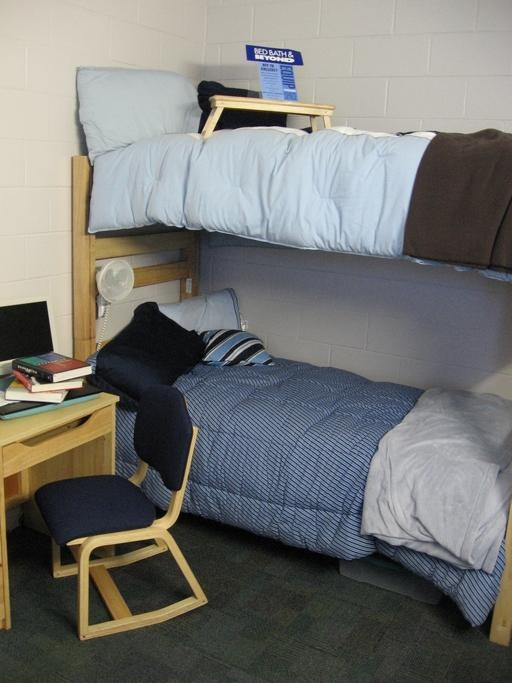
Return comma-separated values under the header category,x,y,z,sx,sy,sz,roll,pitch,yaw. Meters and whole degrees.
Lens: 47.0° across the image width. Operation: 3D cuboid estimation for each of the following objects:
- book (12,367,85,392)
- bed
category,x,y,z,sx,sy,sz,roll,pitch,yaw
book,-0.702,0.136,1.910,0.112,0.022,0.112,15,13,38
bed,0.126,0.168,2.161,1.945,1.721,0.746,4,9,27
